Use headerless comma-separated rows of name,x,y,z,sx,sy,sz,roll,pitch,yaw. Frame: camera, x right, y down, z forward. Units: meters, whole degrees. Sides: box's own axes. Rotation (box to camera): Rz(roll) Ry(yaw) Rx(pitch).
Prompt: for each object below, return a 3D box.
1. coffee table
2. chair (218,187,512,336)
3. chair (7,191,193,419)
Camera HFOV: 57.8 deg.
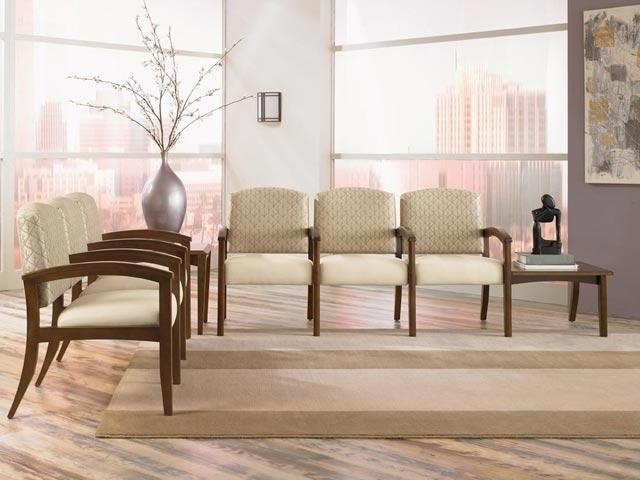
coffee table,1.868,0.365,4.532,0.611,0.495,0.664,0,2,14
chair,0.345,0.139,4.591,2.241,1.073,0.761,0,7,1
chair,-1.190,0.283,3.396,0.935,1.154,1.550,1,3,-6
